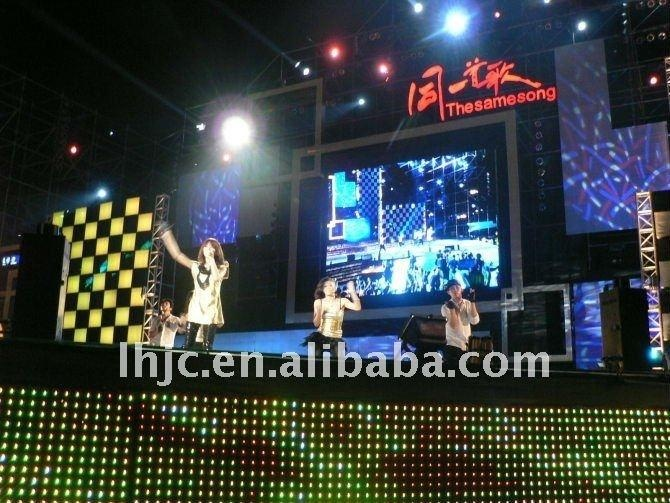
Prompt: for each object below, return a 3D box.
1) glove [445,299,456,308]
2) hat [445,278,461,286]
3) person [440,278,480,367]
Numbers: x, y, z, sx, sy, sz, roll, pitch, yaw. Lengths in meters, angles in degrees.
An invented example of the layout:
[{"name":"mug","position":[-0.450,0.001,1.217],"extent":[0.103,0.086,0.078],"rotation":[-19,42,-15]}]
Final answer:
[{"name":"glove","position":[1.083,0.484,5.517],"extent":[0.057,0.091,0.218],"rotation":[6,-4,8]},{"name":"hat","position":[1.157,0.294,5.639],"extent":[0.130,0.098,0.133],"rotation":[1,-5,-17]},{"name":"person","position":[1.177,0.633,5.557],"extent":[0.333,0.751,0.270],"rotation":[-4,-10,10]}]
